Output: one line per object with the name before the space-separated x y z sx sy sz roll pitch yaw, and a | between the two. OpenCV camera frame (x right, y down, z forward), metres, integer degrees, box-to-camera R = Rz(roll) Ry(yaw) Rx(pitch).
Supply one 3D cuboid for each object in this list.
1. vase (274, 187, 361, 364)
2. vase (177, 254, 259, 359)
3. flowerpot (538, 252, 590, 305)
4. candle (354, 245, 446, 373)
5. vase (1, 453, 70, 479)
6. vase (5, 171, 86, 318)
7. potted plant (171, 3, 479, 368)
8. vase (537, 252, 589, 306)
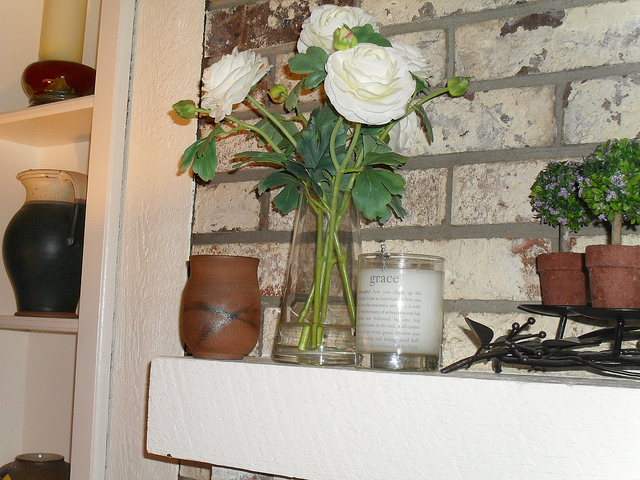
vase | -0.005 0.048 0.889 0.120 0.261 0.056 2 -5 4
vase | -0.156 0.111 0.950 0.126 0.161 0.125 10 -12 -36
flowerpot | 0.338 0.053 0.824 0.066 0.074 0.064 0 -6 24
candle | 0.116 0.095 0.843 0.126 0.171 0.099 2 -1 -14
vase | -0.611 0.487 1.266 0.135 0.044 0.096 -2 -7 34
vase | -0.606 0.003 1.301 0.156 0.317 0.072 4 -6 -20
potted plant | -0.032 -0.117 0.942 0.540 0.626 0.262 0 -5 18
vase | 0.353 0.057 0.854 0.075 0.074 0.072 -6 -9 40
